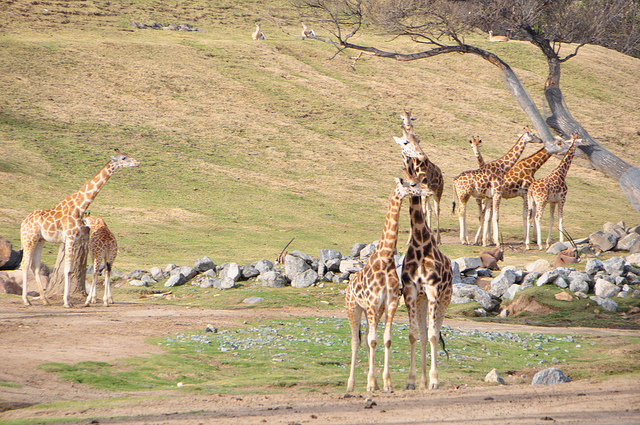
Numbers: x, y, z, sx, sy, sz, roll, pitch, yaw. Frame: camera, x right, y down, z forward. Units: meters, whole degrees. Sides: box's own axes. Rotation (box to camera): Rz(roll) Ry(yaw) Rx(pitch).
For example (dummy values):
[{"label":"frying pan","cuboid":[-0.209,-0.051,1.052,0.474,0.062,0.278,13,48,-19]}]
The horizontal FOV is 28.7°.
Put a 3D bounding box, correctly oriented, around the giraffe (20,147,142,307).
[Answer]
[{"label":"giraffe","cuboid":[-18.615,0.839,75.741,6.480,9.517,12.138,3,-2,-5]}]
